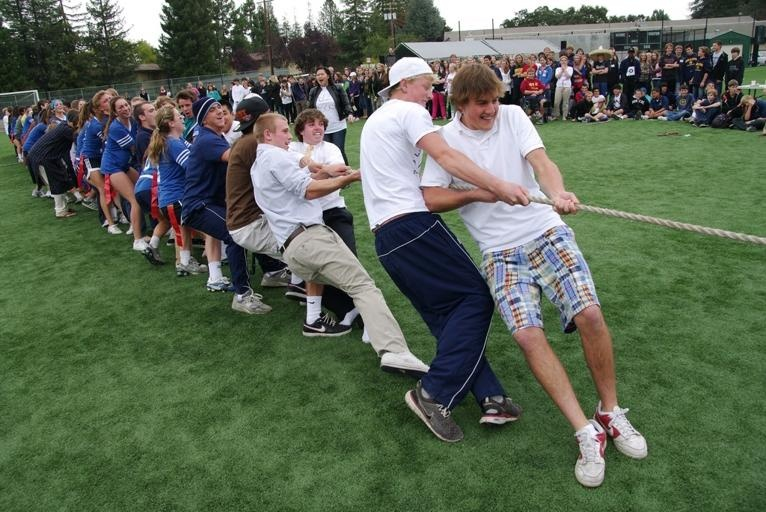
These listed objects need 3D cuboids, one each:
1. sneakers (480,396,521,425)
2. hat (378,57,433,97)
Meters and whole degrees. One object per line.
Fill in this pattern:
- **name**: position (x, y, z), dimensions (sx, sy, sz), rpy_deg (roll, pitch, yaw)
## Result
- **sneakers**: position (0.841, 1.122, 3.936), dimensions (0.418, 0.200, 0.146), rpy_deg (-1, 6, -30)
- **hat**: position (0.165, -1.417, 4.204), dimensions (0.384, 0.204, 0.280), rpy_deg (-11, 8, 24)
